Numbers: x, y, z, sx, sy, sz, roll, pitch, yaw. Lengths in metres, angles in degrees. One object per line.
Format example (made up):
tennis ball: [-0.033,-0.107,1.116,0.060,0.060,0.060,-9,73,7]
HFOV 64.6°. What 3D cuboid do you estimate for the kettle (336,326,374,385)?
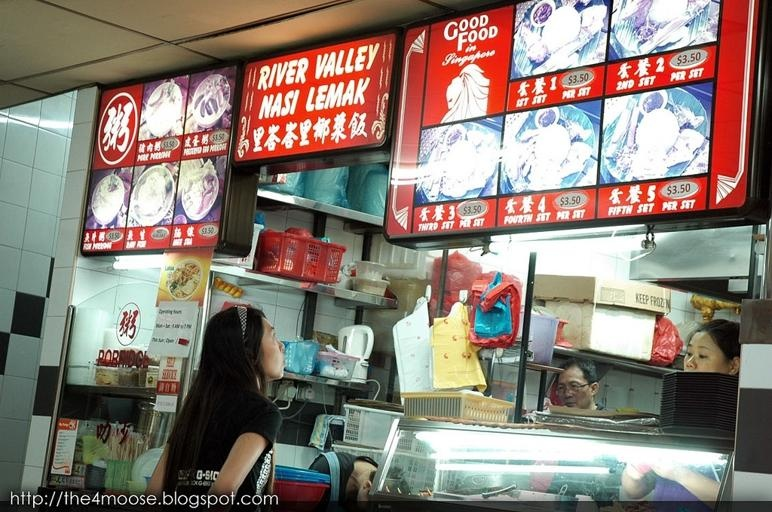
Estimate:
kettle: [-0.299,0.986,5.968,0.420,0.499,0.296,-13,-31,27]

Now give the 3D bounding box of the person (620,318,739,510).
person: [1.422,0.659,2.857,0.349,0.806,1.217,-4,-13,33]

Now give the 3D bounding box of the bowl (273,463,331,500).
bowl: [-0.388,1.031,2.792,0.225,0.077,0.155,8,-17,-21]

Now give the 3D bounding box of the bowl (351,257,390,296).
bowl: [-0.153,0.199,6.018,0.350,0.239,0.347,2,-9,0]

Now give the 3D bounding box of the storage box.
storage box: [1.744,0.466,4.866,0.823,0.490,0.813,13,-11,-36]

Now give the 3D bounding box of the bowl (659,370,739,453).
bowl: [1.328,0.649,2.597,0.300,0.222,0.303,3,-6,0]

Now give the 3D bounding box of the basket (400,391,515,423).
basket: [0.396,0.843,3.442,0.596,0.164,0.312,3,-11,4]

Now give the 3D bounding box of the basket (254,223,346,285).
basket: [-0.755,0.020,5.607,0.714,0.441,0.464,13,-13,-40]

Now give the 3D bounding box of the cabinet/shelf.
cabinet/shelf: [-0.786,0.307,4.944,1.918,1.702,0.599,12,-17,-30]
